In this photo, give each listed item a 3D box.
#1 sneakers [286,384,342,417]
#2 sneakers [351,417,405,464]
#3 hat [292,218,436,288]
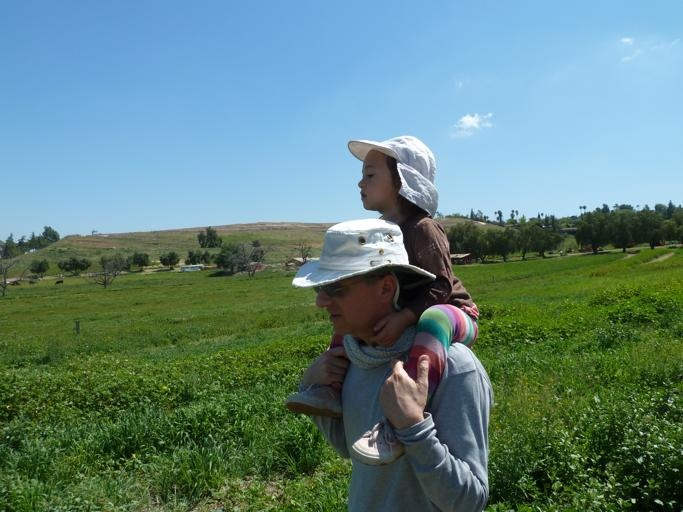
[{"bbox_3d":[-0.238,1.251,4.003,0.590,0.218,0.251,2,33,-4],"label":"sneakers"},{"bbox_3d":[0.292,1.370,3.363,0.421,0.193,0.221,10,-13,-37],"label":"sneakers"},{"bbox_3d":[0.193,-0.014,3.812,0.804,0.364,0.681,-2,-5,-36],"label":"hat"}]
